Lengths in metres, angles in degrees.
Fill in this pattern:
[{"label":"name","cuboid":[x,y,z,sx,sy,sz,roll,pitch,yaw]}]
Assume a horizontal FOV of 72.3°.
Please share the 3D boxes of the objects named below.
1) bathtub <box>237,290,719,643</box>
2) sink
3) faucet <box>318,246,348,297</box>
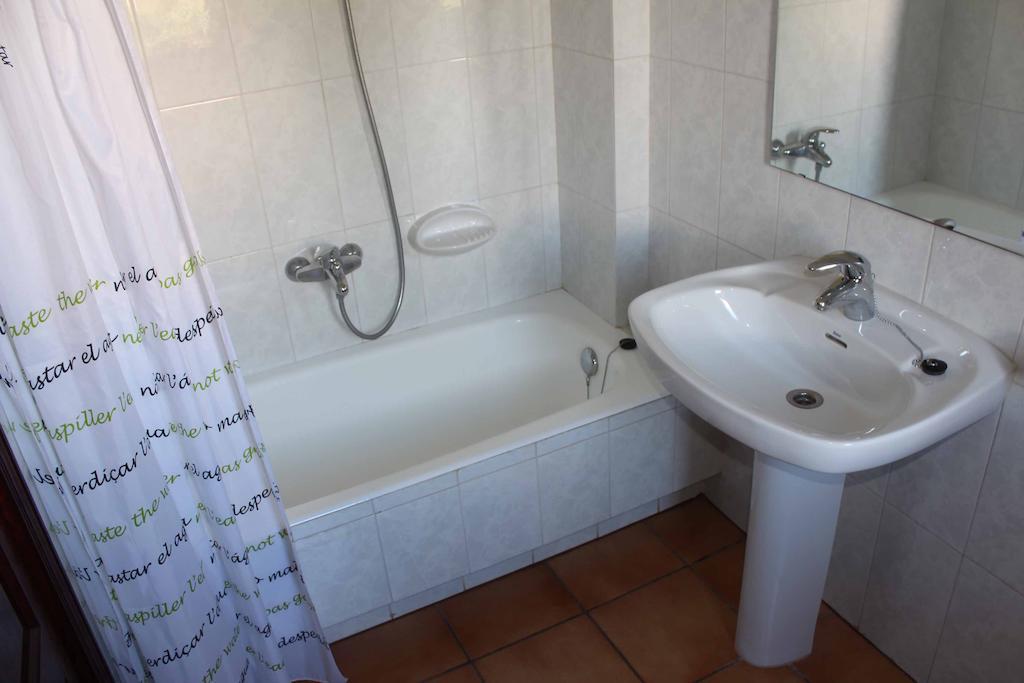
[{"label":"bathtub","cuboid":[-0.164,0.414,2.853,1.545,0.648,0.936,-17,33,-17]},{"label":"sink","cuboid":[0.794,-0.023,1.942,0.741,0.340,0.830,-20,34,-21]},{"label":"faucet","cuboid":[-0.694,-0.286,2.742,0.086,0.230,0.132,-22,20,-14]}]
